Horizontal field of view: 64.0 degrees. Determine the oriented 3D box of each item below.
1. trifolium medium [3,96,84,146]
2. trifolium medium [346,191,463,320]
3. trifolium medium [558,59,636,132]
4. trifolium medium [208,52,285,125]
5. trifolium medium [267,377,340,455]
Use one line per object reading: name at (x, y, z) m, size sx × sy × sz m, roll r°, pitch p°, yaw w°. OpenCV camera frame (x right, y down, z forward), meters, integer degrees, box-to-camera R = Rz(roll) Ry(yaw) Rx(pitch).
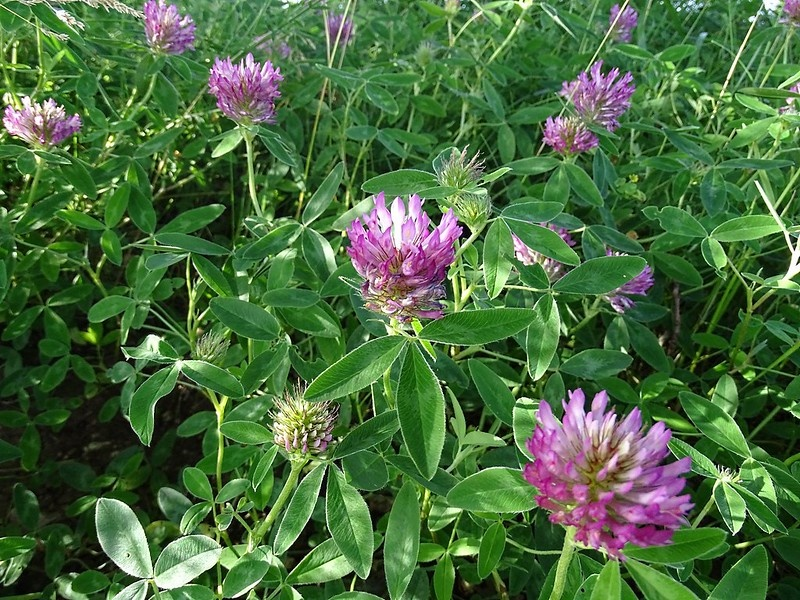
trifolium medium at (-1.344, -0.675, 2.434) m, size 0.230 × 0.158 × 0.233 m, roll 41°, pitch 39°, yaw 23°
trifolium medium at (0.006, -0.092, 1.753) m, size 0.252 × 0.333 × 0.230 m, roll 8°, pitch 31°, yaw -10°
trifolium medium at (0.810, -0.847, 2.588) m, size 0.204 × 0.229 × 0.227 m, roll 22°, pitch 27°, yaw -8°
trifolium medium at (-0.560, -0.757, 2.303) m, size 0.229 × 0.208 × 0.199 m, roll 33°, pitch 45°, yaw 25°
trifolium medium at (-0.314, 0.351, 2.016) m, size 0.214 × 0.270 × 0.222 m, roll -6°, pitch 24°, yaw -22°
